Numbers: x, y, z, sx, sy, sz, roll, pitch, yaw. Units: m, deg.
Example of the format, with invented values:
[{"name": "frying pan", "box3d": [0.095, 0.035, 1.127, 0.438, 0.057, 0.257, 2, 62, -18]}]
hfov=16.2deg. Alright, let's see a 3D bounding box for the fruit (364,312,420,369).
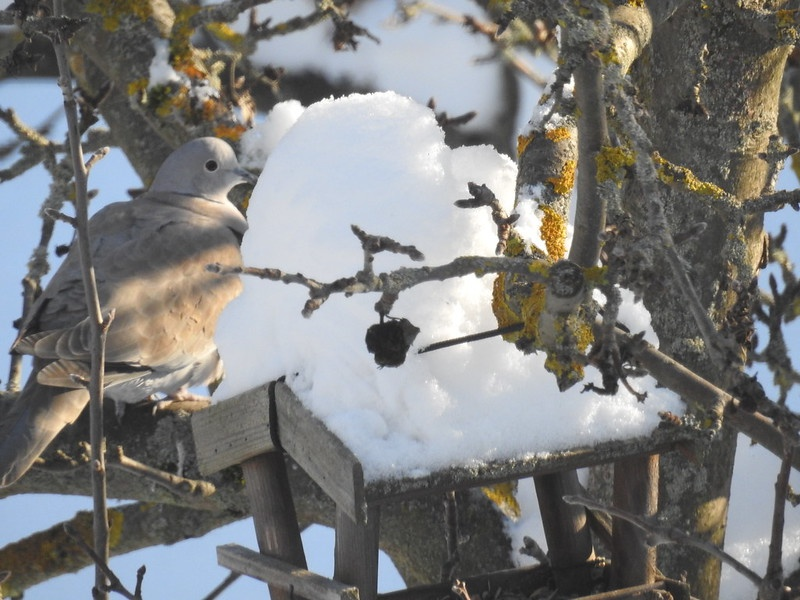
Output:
[{"name": "fruit", "box3d": [-0.053, 0.209, 15.692, 0.277, 0.311, 0.137, -10, 21, -16]}]
